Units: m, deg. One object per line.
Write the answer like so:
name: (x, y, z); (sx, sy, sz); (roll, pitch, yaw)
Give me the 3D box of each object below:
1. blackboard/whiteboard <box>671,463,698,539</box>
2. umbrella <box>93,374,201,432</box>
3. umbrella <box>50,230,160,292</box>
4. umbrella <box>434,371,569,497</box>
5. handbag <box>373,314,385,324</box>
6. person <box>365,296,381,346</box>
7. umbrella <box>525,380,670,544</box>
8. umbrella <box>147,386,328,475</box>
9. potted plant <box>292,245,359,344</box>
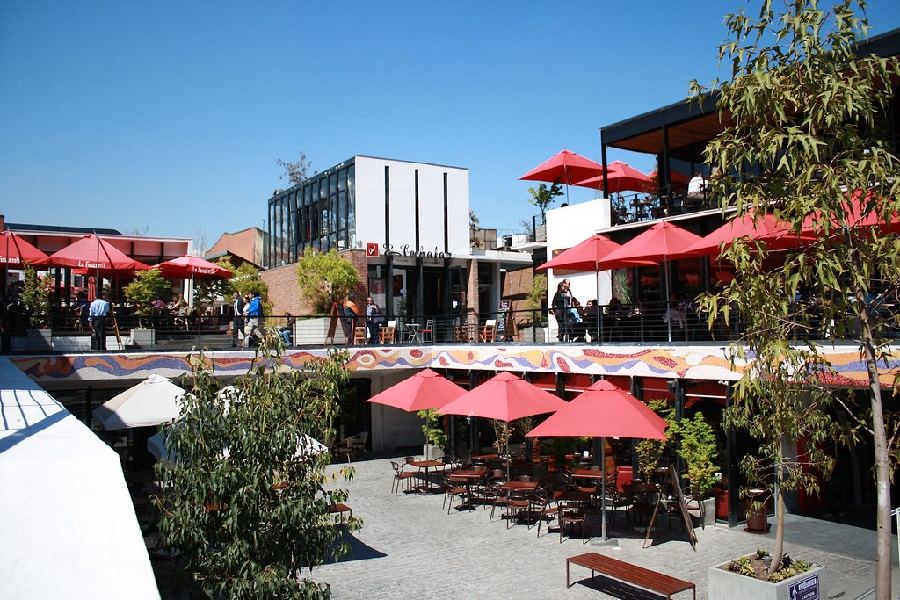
blackboard/whiteboard: (5.729, 4.963, 19.924); (0.430, 1.103, 1.541); (-23, 5, 8)
umbrella: (-7.151, 2.472, 19.062); (2.553, 1.175, 2.550); (-1, -2, -19)
umbrella: (-10.657, -1.267, 24.658); (1.947, 1.295, 1.954); (0, -3, 24)
umbrella: (1.581, 3.952, 23.753); (3.475, 2.942, 3.743); (-1, -1, 6)
handbag: (-2.928, 0.744, 34.801); (0.612, 0.602, 0.149); (-2, 6, -24)
person: (-2.791, 0.837, 29.534); (0.449, 1.484, 1.161); (-2, 4, -8)
umbrella: (3.566, 3.637, 19.299); (3.304, 4.367, 3.540); (-1, -6, 7)
umbrella: (-3.429, 2.399, 14.402); (2.543, 1.203, 2.540); (1, -5, -23)
potted plant: (-5.209, -0.833, 35.463); (2.190, 2.747, 1.810); (1, 4, 31)
